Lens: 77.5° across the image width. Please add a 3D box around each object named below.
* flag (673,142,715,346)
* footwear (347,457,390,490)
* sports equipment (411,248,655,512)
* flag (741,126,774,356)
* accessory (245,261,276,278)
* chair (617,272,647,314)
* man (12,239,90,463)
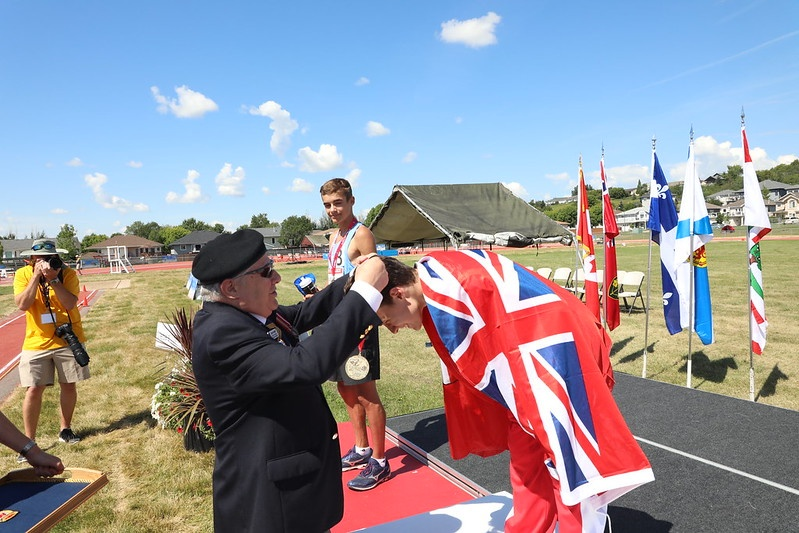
[{"bbox_3d":[4.287,-0.258,7.194,0.510,3.060,1.188,2,8,32],"label":"flag"},{"bbox_3d":[-0.302,2.139,5.169,0.545,0.267,0.213,0,-9,-45],"label":"footwear"},{"bbox_3d":[1.036,0.809,4.303,1.360,1.876,1.958,-7,-8,-18],"label":"sports equipment"},{"bbox_3d":[4.968,-0.275,6.941,0.334,3.173,0.697,3,8,36],"label":"flag"},{"bbox_3d":[-0.993,0.007,3.547,0.139,0.044,0.119,-8,12,-7],"label":"accessory"},{"bbox_3d":[6.201,0.671,13.369,0.753,0.871,0.680,-11,10,-15],"label":"chair"},{"bbox_3d":[-4.602,1.018,6.510,0.815,2.737,0.944,-7,8,-38],"label":"man"}]
